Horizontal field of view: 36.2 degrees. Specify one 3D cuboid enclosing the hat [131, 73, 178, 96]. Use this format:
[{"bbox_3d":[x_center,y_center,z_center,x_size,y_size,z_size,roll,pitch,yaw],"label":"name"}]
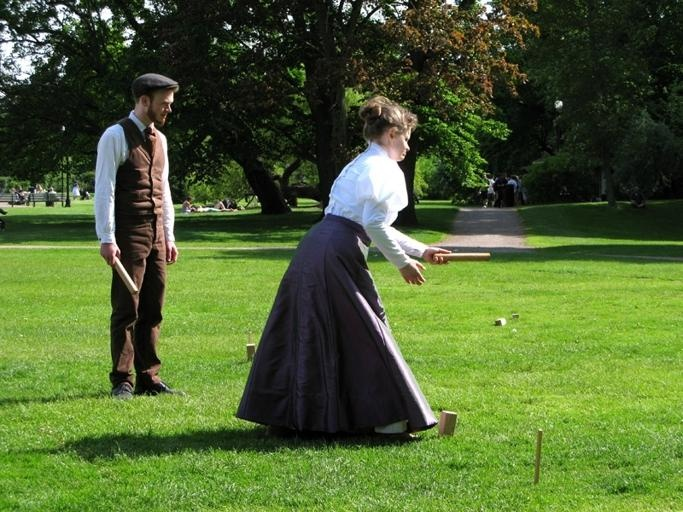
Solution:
[{"bbox_3d":[-2.530,-2.319,14.041,0.437,0.132,0.383,-10,8,-22],"label":"hat"}]
